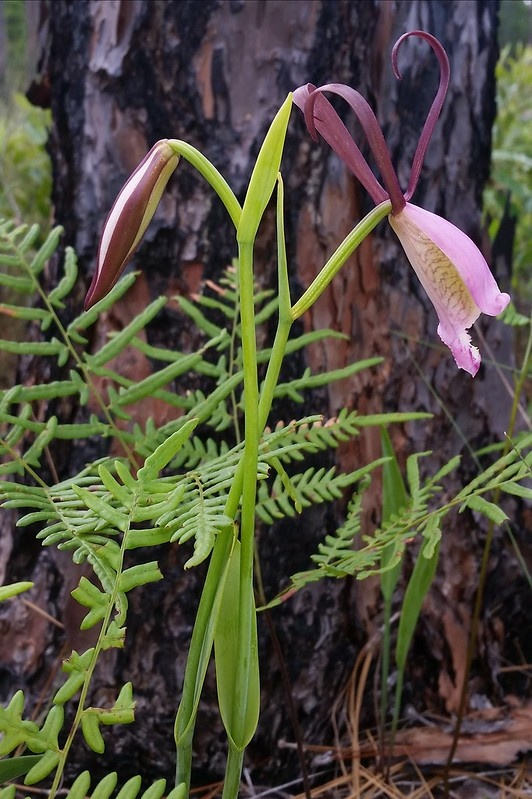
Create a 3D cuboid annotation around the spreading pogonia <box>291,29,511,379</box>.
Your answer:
[{"bbox_3d":[0.156,-0.185,0.797,0.165,0.331,0.115,-2,20,33],"label":"spreading pogonia"}]

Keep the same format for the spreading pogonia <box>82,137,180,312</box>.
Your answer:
[{"bbox_3d":[-0.136,-0.170,0.782,0.103,0.166,0.058,-10,34,-18],"label":"spreading pogonia"}]
